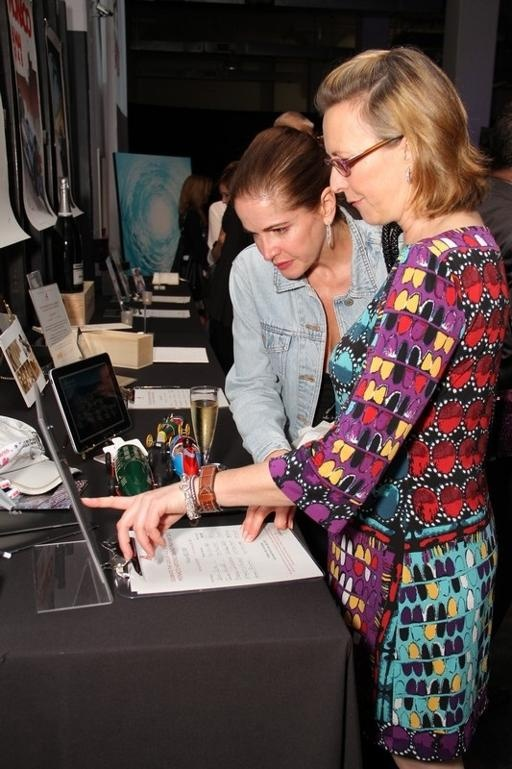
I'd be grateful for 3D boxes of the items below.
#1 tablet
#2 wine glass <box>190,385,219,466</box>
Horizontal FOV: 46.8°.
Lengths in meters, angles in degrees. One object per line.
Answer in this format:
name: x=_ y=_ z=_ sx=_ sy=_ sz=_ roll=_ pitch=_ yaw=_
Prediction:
tablet: x=-0.387 y=0.046 z=1.380 sx=0.075 sy=0.206 sz=0.205 roll=6 pitch=17 yaw=22
wine glass: x=-0.114 y=0.091 z=1.277 sx=0.077 sy=0.156 sz=0.086 roll=-3 pitch=18 yaw=-12
